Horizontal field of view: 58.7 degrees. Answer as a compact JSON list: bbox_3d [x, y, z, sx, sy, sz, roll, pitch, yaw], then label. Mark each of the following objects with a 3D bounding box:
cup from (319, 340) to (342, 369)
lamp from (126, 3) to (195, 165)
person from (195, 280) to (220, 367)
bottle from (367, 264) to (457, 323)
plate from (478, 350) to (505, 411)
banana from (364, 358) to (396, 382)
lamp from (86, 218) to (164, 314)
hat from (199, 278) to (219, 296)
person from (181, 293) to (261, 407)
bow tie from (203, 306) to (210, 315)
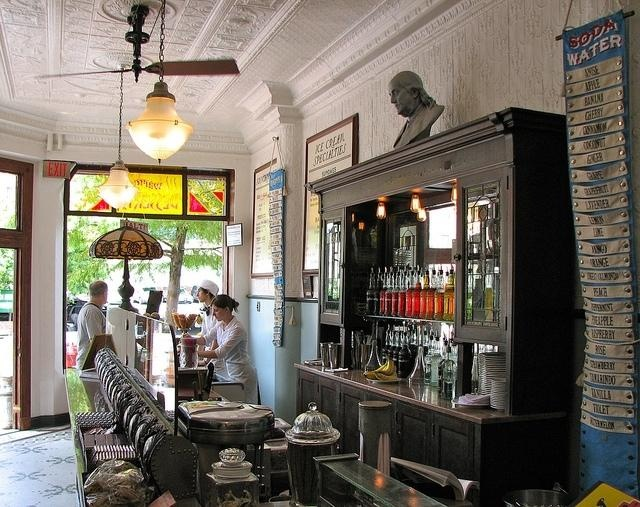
[{"bbox_3d":[0.092,0.877,4.880,0.187,0.203,0.168,1,-6,7],"label":"cup"},{"bbox_3d":[-1.236,-1.388,4.403,0.458,1.362,0.997,0,-5,-18],"label":"lamp"},{"bbox_3d":[-1.318,0.814,6.746,0.381,1.091,0.342,9,-35,-22],"label":"person"},{"bbox_3d":[0.692,0.305,4.426,0.245,0.330,0.854,3,-1,-20],"label":"bottle"},{"bbox_3d":[1.039,0.741,3.336,0.123,0.312,0.303,0,-5,-14],"label":"plate"},{"bbox_3d":[0.461,0.856,4.236,0.126,0.147,0.215,-7,-6,43],"label":"banana"},{"bbox_3d":[-2.004,0.153,5.823,0.757,0.996,0.773,-3,-5,38],"label":"lamp"},{"bbox_3d":[-1.385,0.414,7.252,0.223,0.178,0.163,40,-12,-22],"label":"hat"},{"bbox_3d":[-0.981,1.036,6.168,0.631,1.185,1.302,0,-5,-16],"label":"person"},{"bbox_3d":[-1.397,0.682,7.054,0.079,0.061,0.192,-38,-26,-37],"label":"bow tie"}]
